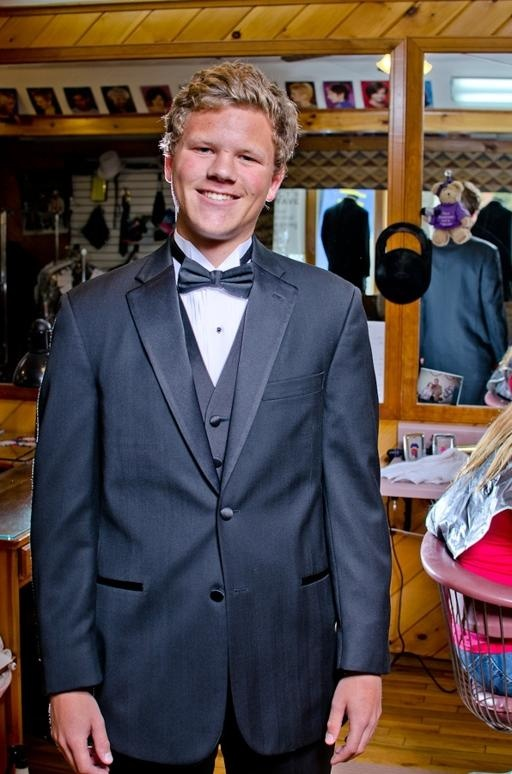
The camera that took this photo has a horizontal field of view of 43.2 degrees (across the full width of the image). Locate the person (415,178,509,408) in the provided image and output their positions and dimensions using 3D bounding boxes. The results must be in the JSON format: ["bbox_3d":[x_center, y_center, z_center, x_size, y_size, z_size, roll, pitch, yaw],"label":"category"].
[{"bbox_3d":[0.884,-0.437,2.913,0.209,0.941,0.447,2,14,1],"label":"person"}]

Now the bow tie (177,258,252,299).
[{"bbox_3d":[-0.055,-0.161,0.960,0.105,0.056,0.078,1,10,-10],"label":"bow tie"}]
